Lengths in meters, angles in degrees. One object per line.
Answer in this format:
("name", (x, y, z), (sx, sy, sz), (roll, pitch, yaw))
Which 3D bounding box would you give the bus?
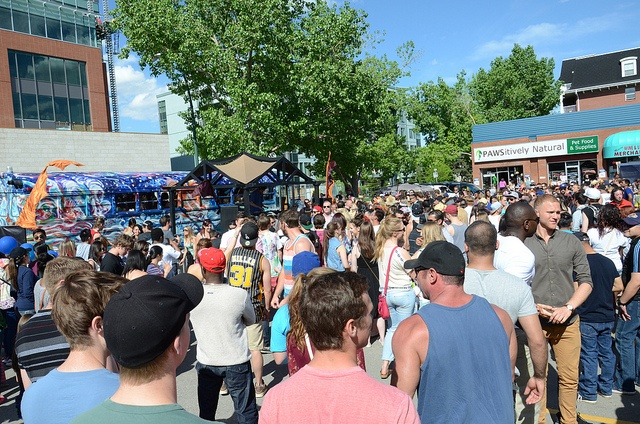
("bus", (-7.009, -0.306, 19.479), (2.810, 2.755, 9.041), (2, 6, 41))

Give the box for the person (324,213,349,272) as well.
("person", (0.290, 0.702, 11.289), (0.584, 0.998, 0.549), (-1, 5, 12))

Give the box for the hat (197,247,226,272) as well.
("hat", (-1.612, 0.736, 8.211), (0.373, 0.361, 0.265), (-3, 5, -11))

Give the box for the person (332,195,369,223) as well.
("person", (0.817, -0.094, 15.398), (0.796, 0.890, 0.286), (12, 47, 4))

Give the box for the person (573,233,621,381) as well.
("person", (4.614, 1.137, 9.161), (0.636, 1.584, 1.051), (1, 6, 34))

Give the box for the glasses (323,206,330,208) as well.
("glasses", (0.193, -0.127, 14.580), (0.233, 0.054, 0.116), (-6, 6, -34))

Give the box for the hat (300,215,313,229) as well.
("hat", (-0.301, 0.213, 11.385), (0.166, 0.397, 0.240), (1, 11, 43))

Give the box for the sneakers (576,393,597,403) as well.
("sneakers", (4.356, 3.092, 9.106), (0.145, 0.161, 0.358), (3, -2, -37))

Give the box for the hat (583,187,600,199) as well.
("hat", (6.340, -0.405, 12.867), (0.267, 0.238, 0.251), (0, 5, 29))

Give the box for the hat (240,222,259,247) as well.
("hat", (-1.201, 0.396, 9.339), (0.266, 0.423, 0.161), (5, -21, 1))

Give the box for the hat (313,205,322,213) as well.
("hat", (-0.094, -0.084, 14.911), (0.149, 0.193, 0.170), (-5, -10, 29))

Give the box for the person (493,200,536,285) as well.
("person", (2.981, 0.355, 8.375), (0.593, 1.109, 1.294), (-1, 19, 9))
